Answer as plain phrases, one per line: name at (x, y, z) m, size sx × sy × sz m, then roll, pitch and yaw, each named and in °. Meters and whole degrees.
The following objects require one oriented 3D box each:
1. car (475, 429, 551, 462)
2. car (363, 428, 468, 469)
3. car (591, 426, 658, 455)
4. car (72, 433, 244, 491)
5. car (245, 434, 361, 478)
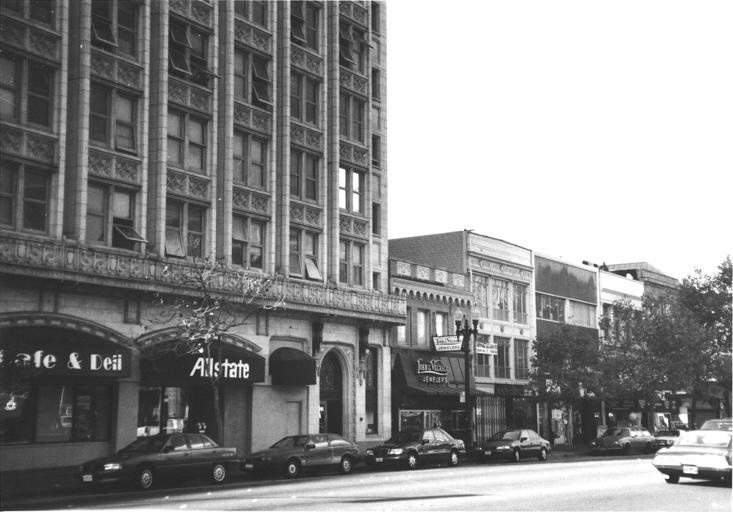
car at (8.326, 10.501, 59.085) m, size 2.315 × 1.809 × 5.175 m, roll -9°, pitch -13°, yaw 38°
car at (2.784, 9.796, 54.227) m, size 2.328 × 1.902 × 5.586 m, roll -15°, pitch -17°, yaw 43°
car at (16.418, 11.727, 67.579) m, size 4.881 × 1.915 × 2.050 m, roll 12°, pitch -22°, yaw -35°
car at (-8.673, 8.925, 45.917) m, size 3.088 × 2.309 × 6.847 m, roll -17°, pitch -17°, yaw 37°
car at (-2.847, 9.242, 49.059) m, size 4.172 × 1.440 × 2.132 m, roll 17°, pitch -24°, yaw -41°
